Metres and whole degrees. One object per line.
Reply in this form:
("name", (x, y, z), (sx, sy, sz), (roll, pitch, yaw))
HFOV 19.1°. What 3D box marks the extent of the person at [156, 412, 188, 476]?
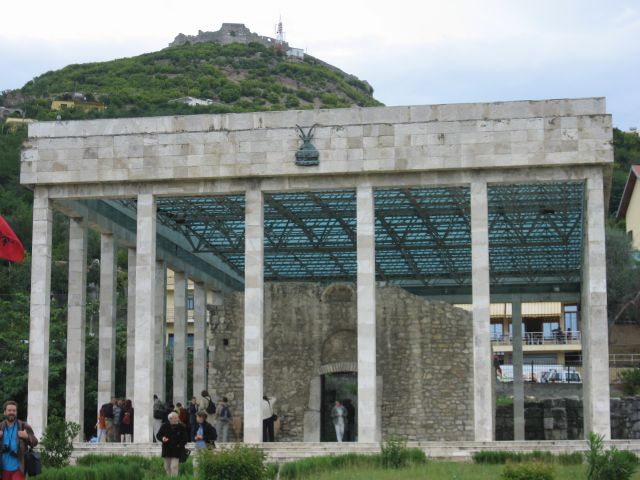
("person", (-6.267, 8.932, 82.923), (1.108, 2.815, 1.301), (8, -15, -39))
